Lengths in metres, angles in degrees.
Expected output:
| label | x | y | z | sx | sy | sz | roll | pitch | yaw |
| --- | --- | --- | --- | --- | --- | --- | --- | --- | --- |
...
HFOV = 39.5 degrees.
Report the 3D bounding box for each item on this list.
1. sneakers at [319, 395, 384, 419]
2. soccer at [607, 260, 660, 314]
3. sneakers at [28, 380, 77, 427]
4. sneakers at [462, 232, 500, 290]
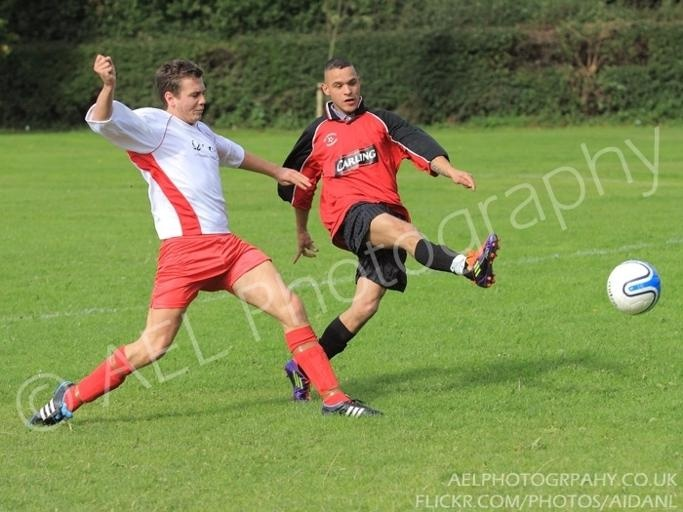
| label | x | y | z | sx | sy | sz | roll | pitch | yaw |
| --- | --- | --- | --- | --- | --- | --- | --- | --- | --- |
| sneakers | 0.068 | 1.194 | 7.449 | 0.458 | 0.155 | 0.167 | -1 | -5 | 4 |
| soccer | 2.414 | 0.279 | 7.840 | 0.396 | 0.435 | 0.244 | 0 | 15 | 14 |
| sneakers | -2.237 | 1.147 | 7.244 | 0.340 | 0.137 | 0.250 | -29 | 61 | -4 |
| sneakers | 1.051 | 0.063 | 7.168 | 0.267 | 0.498 | 0.183 | 8 | 34 | 11 |
